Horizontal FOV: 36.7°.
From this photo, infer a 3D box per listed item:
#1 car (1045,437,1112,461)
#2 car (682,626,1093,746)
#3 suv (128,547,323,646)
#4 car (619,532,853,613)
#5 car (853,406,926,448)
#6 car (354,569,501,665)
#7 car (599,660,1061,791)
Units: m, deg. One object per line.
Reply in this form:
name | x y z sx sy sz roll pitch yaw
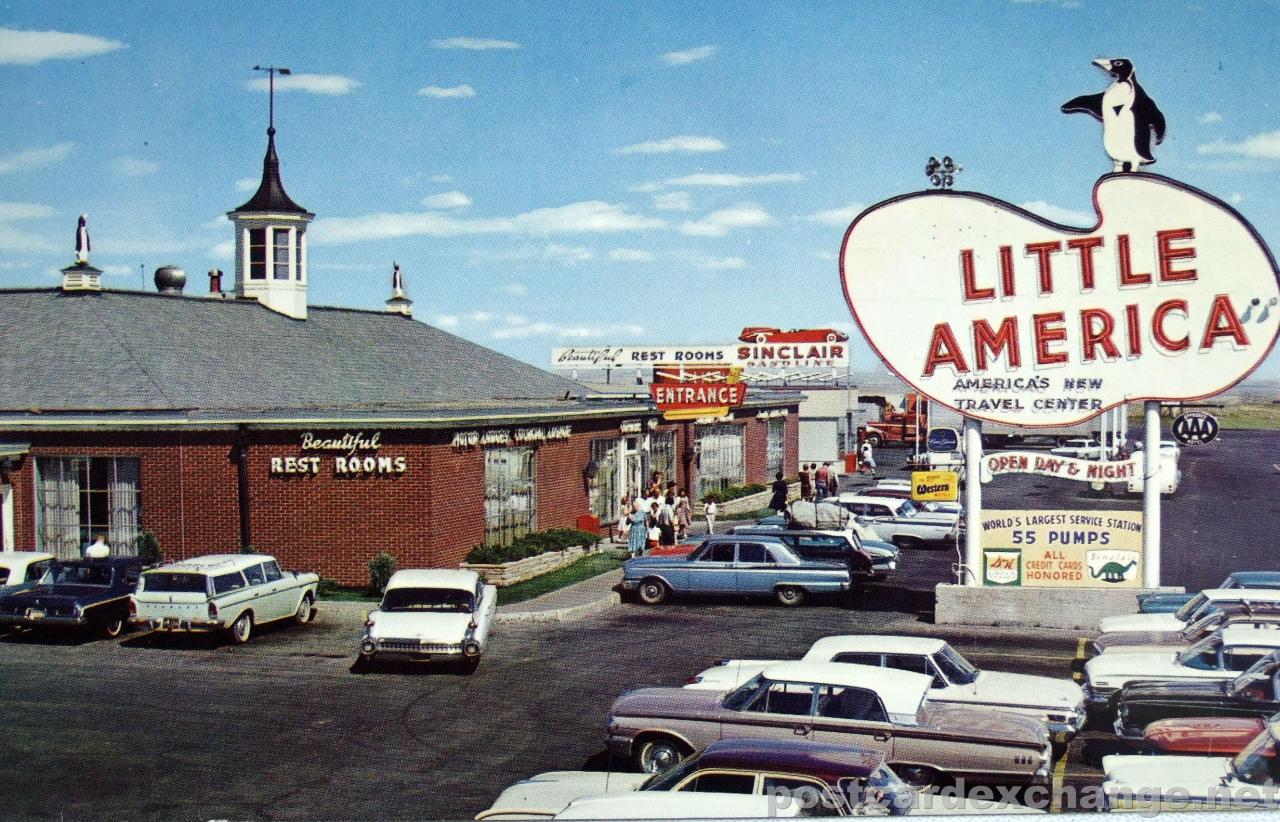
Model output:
car | 19.204 1.597 85.099 1.358 0.729 2.923 3 6 39
car | 5.805 6.125 44.228 8.204 1.837 3.257 1 -1 13
suv | -10.819 4.781 50.837 2.219 1.234 3.648 3 7 26
car | 2.533 4.477 54.189 7.102 1.802 2.434 0 -1 13
car | 14.458 0.961 113.520 4.068 1.502 2.414 -1 3 6
car | -5.250 5.072 48.686 2.634 1.786 6.127 0 -1 -2
car | 4.132 6.782 42.520 8.889 1.897 3.349 1 -4 11
